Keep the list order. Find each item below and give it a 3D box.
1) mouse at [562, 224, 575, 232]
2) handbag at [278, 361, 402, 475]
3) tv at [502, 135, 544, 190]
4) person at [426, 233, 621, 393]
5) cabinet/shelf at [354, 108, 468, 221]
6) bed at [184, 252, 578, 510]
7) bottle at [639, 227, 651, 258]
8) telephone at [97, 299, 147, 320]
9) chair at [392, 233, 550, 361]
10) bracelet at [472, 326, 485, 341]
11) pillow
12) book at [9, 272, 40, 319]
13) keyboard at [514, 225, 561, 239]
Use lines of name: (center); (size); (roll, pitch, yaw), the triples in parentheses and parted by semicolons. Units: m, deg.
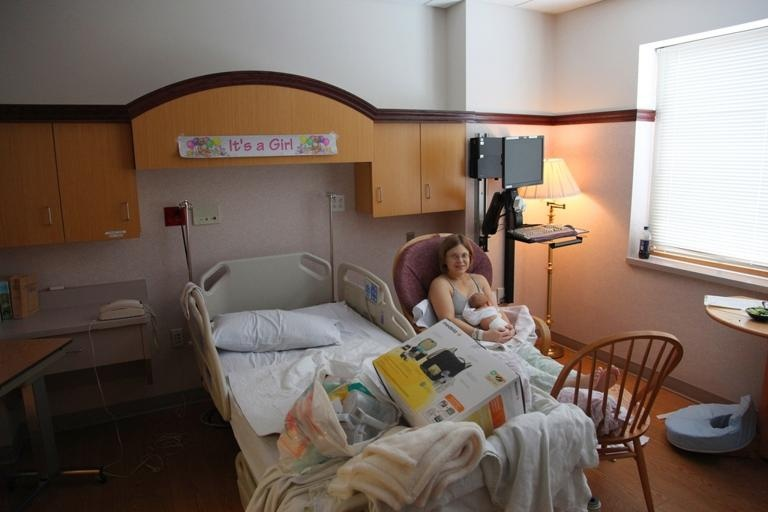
mouse: (1.573, -0.245, 4.368); (0.070, 0.030, 0.098); (2, 14, -2)
handbag: (-0.189, 0.671, 2.294); (0.382, 0.257, 0.517); (8, 12, 26)
tv: (1.120, -0.772, 4.179); (0.411, 0.352, 0.044); (-9, 13, -29)
person: (0.826, 0.370, 3.394); (0.622, 0.955, 1.515); (-5, 12, -25)
cabinet/shelf: (0.192, -0.757, 4.043); (0.831, 0.709, 0.317); (-5, 10, -22)
bed: (-0.618, 0.517, 3.408); (1.203, 1.077, 1.649); (-9, 33, -26)
bottle: (2.156, -0.123, 4.262); (0.085, 0.235, 0.242); (2, 15, 27)
telephone: (-1.720, 0.352, 3.357); (0.205, 0.063, 0.158); (-6, 14, -27)
chair: (0.718, 0.198, 3.890); (0.864, 1.155, 1.072); (-13, 12, -34)
bracelet: (0.649, 0.536, 3.546); (0.086, 0.076, 0.065); (-6, 11, -27)
pillow: (-0.710, 0.498, 3.434); (0.687, 0.213, 0.352); (0, 4, -13)
book: (-2.375, 0.264, 3.380); (0.104, 0.281, 0.275); (-1, 4, -10)
keyboard: (1.260, -0.205, 4.240); (0.319, 0.061, 0.174); (-12, 22, -27)
